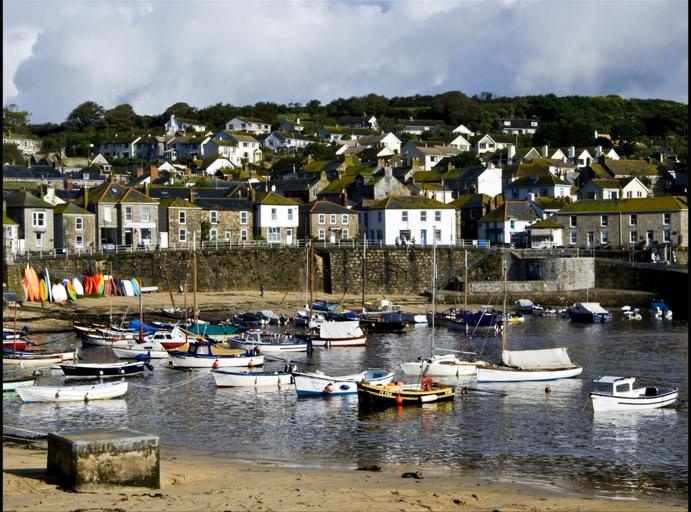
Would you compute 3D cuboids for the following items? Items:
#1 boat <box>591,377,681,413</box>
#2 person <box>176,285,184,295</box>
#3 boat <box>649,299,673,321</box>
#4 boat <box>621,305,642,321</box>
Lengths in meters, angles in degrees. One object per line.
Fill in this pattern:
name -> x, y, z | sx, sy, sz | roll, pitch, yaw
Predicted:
boat -> 19.310, 9.296, 103.180 | 5.273, 2.052, 2.604 | 3, -6, -26
person -> -14.804, 2.919, 136.775 | 0.955, 0.639, 1.441 | 13, -5, -6
boat -> 28.547, 4.868, 138.158 | 1.177, 1.239, 2.195 | -2, 28, 2
boat -> 25.860, 4.970, 137.521 | 1.141, 0.939, 2.151 | 4, -3, 29
